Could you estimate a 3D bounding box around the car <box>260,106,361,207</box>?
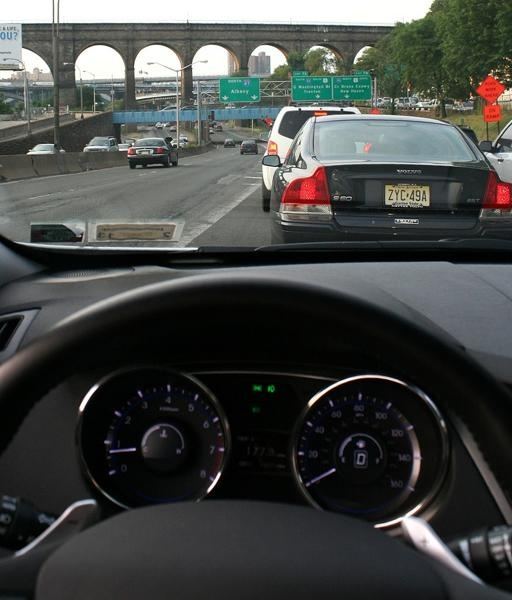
[{"bbox_3d":[0.903,-2.404,10.694,1.504,1.702,3.056,1,30,3],"label":"car"}]
